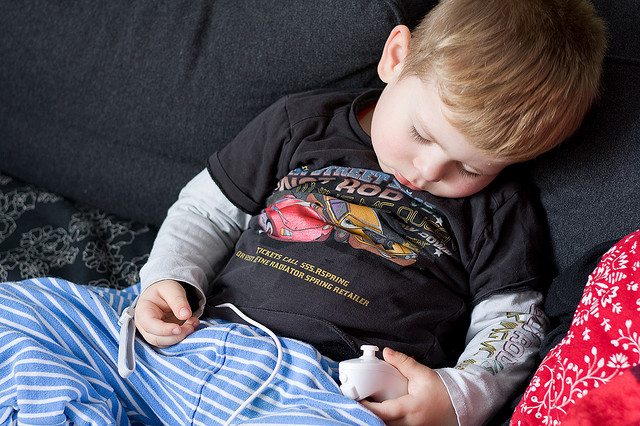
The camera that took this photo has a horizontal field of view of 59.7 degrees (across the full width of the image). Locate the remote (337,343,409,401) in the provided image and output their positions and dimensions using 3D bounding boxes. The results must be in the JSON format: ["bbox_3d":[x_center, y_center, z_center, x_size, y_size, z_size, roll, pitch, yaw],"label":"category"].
[{"bbox_3d":[0.110,0.317,1.107,0.165,0.121,0.090,5,81,-20],"label":"remote"}]

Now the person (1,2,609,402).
[{"bbox_3d":[0.094,0.101,1.289,0.846,0.485,1.136,40,60,19],"label":"person"}]
